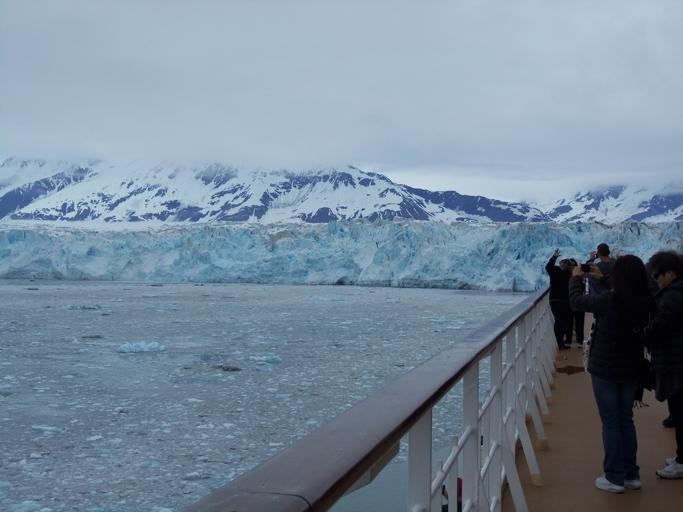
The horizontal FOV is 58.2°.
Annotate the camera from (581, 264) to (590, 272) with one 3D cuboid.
[{"bbox_3d":[1.443,0.065,3.599,0.048,0.054,0.083,4,5,43],"label":"camera"}]

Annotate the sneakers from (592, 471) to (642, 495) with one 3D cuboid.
[{"bbox_3d":[1.538,1.265,3.454,0.109,0.070,0.174,0,-1,-21],"label":"sneakers"}]

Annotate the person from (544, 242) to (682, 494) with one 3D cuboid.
[{"bbox_3d":[1.544,0.639,3.495,0.477,1.301,0.273,2,2,17],"label":"person"}]

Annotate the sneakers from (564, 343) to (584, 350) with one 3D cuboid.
[{"bbox_3d":[2.981,1.118,7.821,0.115,0.079,0.275,12,1,-13],"label":"sneakers"}]
